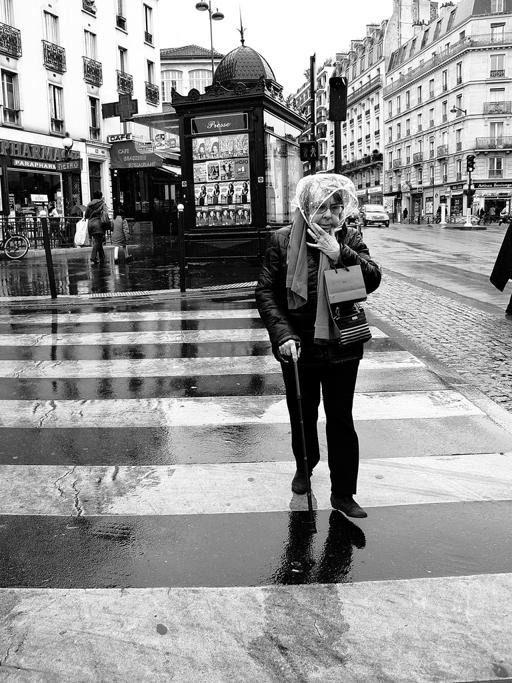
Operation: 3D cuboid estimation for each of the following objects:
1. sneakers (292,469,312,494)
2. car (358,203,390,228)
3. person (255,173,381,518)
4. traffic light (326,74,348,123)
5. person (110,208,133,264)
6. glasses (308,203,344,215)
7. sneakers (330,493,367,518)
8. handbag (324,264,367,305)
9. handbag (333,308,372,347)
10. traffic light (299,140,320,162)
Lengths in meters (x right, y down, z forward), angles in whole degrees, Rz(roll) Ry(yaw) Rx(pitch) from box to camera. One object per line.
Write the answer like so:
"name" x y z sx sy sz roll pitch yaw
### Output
"sneakers" 0.226 0.716 3.491 0.060 0.124 0.187 1 -9 0
"car" 8.997 -9.383 52.813 1.585 1.486 2.828 -2 10 -2
"person" 0.285 0.021 3.296 0.583 1.571 0.451 1 10 11
"traffic light" 1.311 -3.877 11.176 0.275 0.793 0.793 0 10 4
"person" -3.538 -2.656 18.108 0.413 1.372 2.277 -3 10 -11
"glasses" 0.333 -0.589 3.140 0.161 0.049 0.044 -8 12 -33
"sneakers" 0.439 0.775 3.303 0.061 0.083 0.188 -2 0 -30
"handbag" 0.397 -0.249 3.134 0.138 0.157 0.052 -11 1 -11
"handbag" 0.459 -0.072 3.211 0.232 0.185 0.079 -10 13 -40
"traffic light" 1.274 -4.528 16.781 0.410 0.537 0.811 0 10 2
